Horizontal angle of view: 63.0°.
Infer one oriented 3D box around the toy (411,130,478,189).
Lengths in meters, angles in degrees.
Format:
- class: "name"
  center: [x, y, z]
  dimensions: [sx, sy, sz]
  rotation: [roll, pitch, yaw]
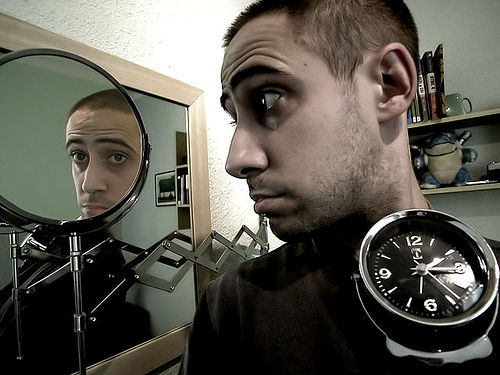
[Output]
- class: "toy"
  center: [0.927, -0.129, 1.924]
  dimensions: [0.225, 0.235, 0.124]
  rotation: [-7, -14, 33]
